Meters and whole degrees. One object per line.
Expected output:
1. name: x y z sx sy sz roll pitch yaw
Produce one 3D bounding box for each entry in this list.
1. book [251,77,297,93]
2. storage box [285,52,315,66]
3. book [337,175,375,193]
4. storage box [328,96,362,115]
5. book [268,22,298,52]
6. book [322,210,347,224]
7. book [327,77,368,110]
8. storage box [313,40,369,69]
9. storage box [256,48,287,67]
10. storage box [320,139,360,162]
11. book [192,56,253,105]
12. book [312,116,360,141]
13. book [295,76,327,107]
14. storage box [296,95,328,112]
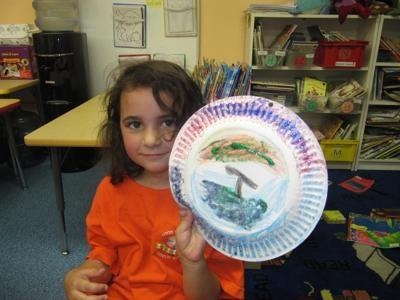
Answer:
1. book: 0.684 -0.605 2.930 0.453 0.088 0.163 0 23 -4
2. storage box: 0.941 -0.818 2.810 0.312 0.115 0.161 -8 25 -22
3. book: 1.455 0.310 2.887 0.361 0.024 0.220 -15 28 -34
4. storage box: 1.328 -0.410 2.881 0.148 0.095 0.223 -1 2 -15
5. book: 0.751 -1.040 2.860 0.201 0.212 0.407 6 23 12
6. book: 1.044 0.515 2.449 0.178 0.032 0.160 2 23 1
7. book: 1.360 -0.509 2.903 0.110 0.333 0.263 19 35 -51
8. storage box: 1.225 -0.847 2.753 0.412 0.233 0.206 8 24 16
9. storage box: 0.619 -0.825 2.751 0.202 0.108 0.157 2 24 3
10. storage box: 1.352 -0.004 3.035 0.246 0.157 0.251 0 8 7
11. book: 0.188 -0.577 2.581 0.454 0.481 0.168 4 5 37
12. book: 1.345 -0.203 3.117 0.278 0.067 0.278 -23 20 -18
13. book: 1.037 -0.552 2.898 0.272 0.272 0.068 10 3 5
14. storage box: 1.050 -0.443 2.890 0.239 0.170 0.131 -1 12 4
